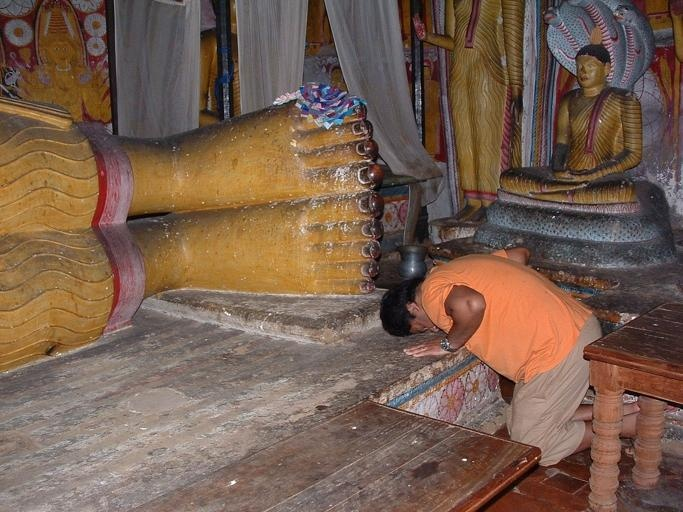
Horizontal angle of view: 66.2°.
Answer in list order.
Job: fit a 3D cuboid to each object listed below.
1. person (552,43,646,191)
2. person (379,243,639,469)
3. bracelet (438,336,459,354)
[{"bbox_3d":[1.537,-0.877,3.230,0.407,0.823,0.442,-2,8,-13],"label":"person"},{"bbox_3d":[0.546,0.250,1.958,1.036,0.629,0.604,6,24,24],"label":"person"},{"bbox_3d":[0.357,0.299,1.760,0.070,0.038,0.049,18,29,-52],"label":"bracelet"}]
